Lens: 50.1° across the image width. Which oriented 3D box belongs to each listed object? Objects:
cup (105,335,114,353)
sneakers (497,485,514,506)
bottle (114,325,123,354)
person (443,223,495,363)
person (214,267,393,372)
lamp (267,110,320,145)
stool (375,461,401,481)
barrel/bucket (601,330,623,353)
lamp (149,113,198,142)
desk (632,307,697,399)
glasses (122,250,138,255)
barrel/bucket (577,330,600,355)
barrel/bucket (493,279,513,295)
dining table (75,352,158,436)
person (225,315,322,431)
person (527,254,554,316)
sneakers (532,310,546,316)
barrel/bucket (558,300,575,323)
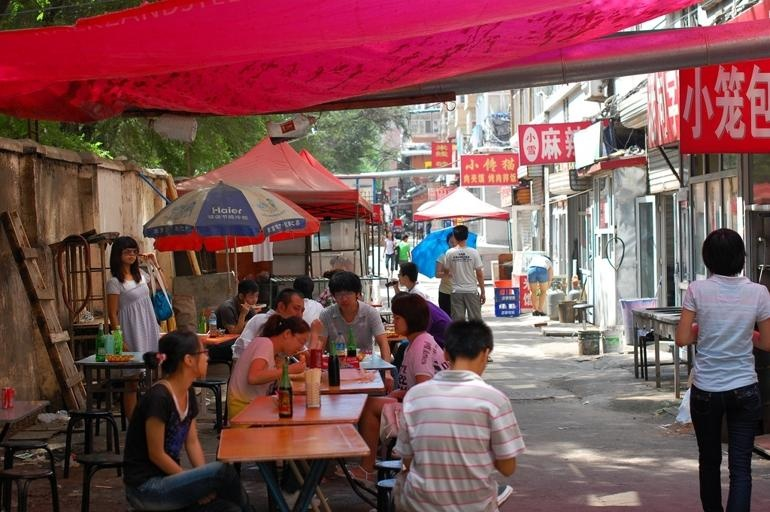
[{"bbox_3d":[-3.246,1.043,9.742,0.101,0.210,0.150,-2,5,-18],"label":"cup"},{"bbox_3d":[0.909,1.861,6.400,0.118,0.144,0.384,-18,-12,5],"label":"sneakers"},{"bbox_3d":[-3.205,1.009,9.950,0.106,0.311,0.539,-2,5,-18],"label":"bottle"},{"bbox_3d":[1.394,0.662,15.290,0.831,2.380,0.685,-2,4,-6],"label":"person"},{"bbox_3d":[-1.151,0.690,11.203,2.121,1.087,0.881,2,-5,-20],"label":"person"},{"bbox_3d":[-1.046,-1.473,9.453,0.547,0.297,0.155,-14,13,5],"label":"lamp"},{"bbox_3d":[0.027,1.787,6.818,0.215,0.148,0.207,0,4,-31],"label":"stool"},{"bbox_3d":[4.413,1.674,16.107,0.433,0.477,0.419,-1,0,0],"label":"barrel/bucket"},{"bbox_3d":[-2.220,-1.328,8.778,0.562,0.334,0.340,4,-7,-4],"label":"lamp"},{"bbox_3d":[3.888,1.381,11.607,0.658,1.238,1.537,-2,3,-9],"label":"desk"},{"bbox_3d":[-3.118,-0.055,10.168,0.092,0.076,0.209,2,5,28],"label":"glasses"},{"bbox_3d":[3.944,1.671,15.986,0.407,0.459,0.448,0,5,0],"label":"barrel/bucket"},{"bbox_3d":[3.214,0.851,22.571,0.393,0.364,0.385,0,5,0],"label":"barrel/bucket"},{"bbox_3d":[-2.990,1.538,9.217,0.726,0.961,1.458,0,2,-6],"label":"dining table"},{"bbox_3d":[-1.155,1.387,8.205,0.797,1.534,0.632,9,2,10],"label":"person"},{"bbox_3d":[4.137,0.776,22.205,0.633,1.623,1.032,0,5,10],"label":"person"},{"bbox_3d":[4.150,1.542,22.301,0.131,0.145,0.367,4,2,41],"label":"sneakers"},{"bbox_3d":[4.418,1.346,20.143,0.399,0.537,0.366,0,5,0],"label":"barrel/bucket"}]
